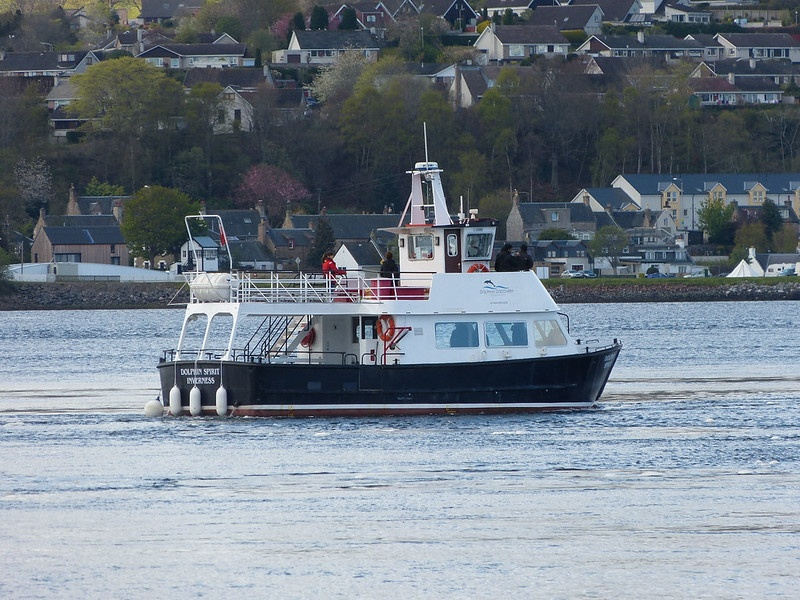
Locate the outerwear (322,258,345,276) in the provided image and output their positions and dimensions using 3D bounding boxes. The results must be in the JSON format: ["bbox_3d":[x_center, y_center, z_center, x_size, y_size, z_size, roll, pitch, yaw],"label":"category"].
[{"bbox_3d":[-4.171,-2.175,162.795,1.303,1.027,0.935,-2,4,-20],"label":"outerwear"}]

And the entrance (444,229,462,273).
[{"bbox_3d":[3.278,-3.159,163.020,1.102,3.032,0.247,4,-17,-28],"label":"entrance"}]

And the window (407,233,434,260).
[{"bbox_3d":[1.323,-3.527,163.287,1.561,1.597,0.180,2,0,14],"label":"window"}]

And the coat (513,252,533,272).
[{"bbox_3d":[7.692,-2.658,162.741,1.071,1.563,1.382,10,8,27],"label":"coat"}]

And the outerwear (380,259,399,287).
[{"bbox_3d":[-0.693,-1.735,162.180,1.522,2.199,1.164,0,7,-7],"label":"outerwear"}]
